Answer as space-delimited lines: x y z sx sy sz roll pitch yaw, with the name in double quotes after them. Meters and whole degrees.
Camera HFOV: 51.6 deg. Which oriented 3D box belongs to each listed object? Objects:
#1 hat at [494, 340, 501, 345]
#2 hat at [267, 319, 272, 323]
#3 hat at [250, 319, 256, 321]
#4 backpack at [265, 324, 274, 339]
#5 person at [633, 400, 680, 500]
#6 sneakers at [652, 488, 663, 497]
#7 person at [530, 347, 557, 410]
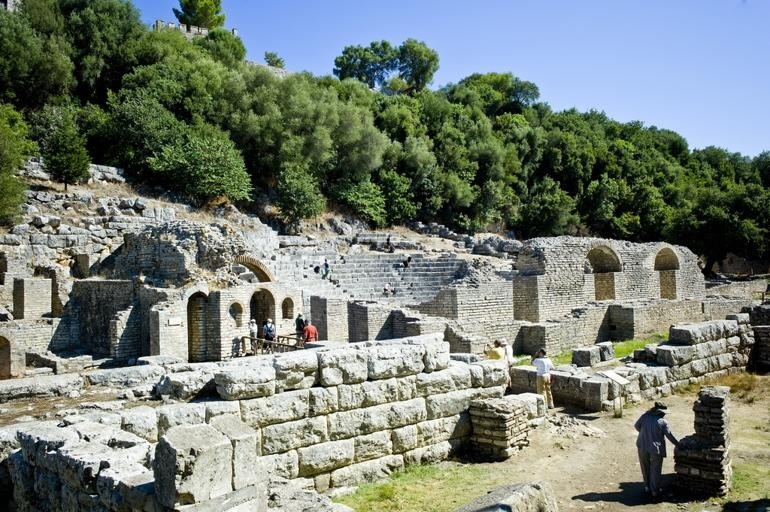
3.715 2.843 26.145 0.194 0.197 0.223 -1 -7 6 "hat"
-4.496 2.510 31.128 0.155 0.164 0.195 -2 -28 -2 "hat"
-5.317 2.580 32.312 0.146 0.126 0.138 1 -6 -12 "hat"
-4.282 2.809 29.627 0.535 0.667 0.384 1 -8 -14 "backpack"
7.416 5.304 21.960 0.962 2.543 0.621 3 -7 -22 "person"
7.428 6.416 21.707 0.127 0.213 0.416 -5 -8 39 "sneakers"
5.017 3.885 25.312 0.612 1.869 0.908 -2 -7 16 "person"
